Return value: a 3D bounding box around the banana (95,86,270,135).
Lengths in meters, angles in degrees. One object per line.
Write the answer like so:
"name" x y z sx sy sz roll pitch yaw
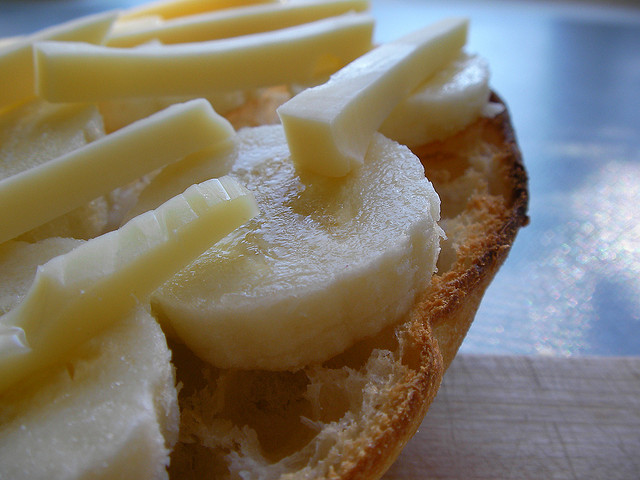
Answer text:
"banana" -0.326 -0.273 1.484 0.192 0.058 0.183 -10 10 -2

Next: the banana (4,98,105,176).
"banana" -0.509 -0.194 1.342 0.139 0.042 0.148 -25 45 -1

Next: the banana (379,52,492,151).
"banana" 0.239 -0.274 1.421 0.196 0.050 0.194 -23 31 48
